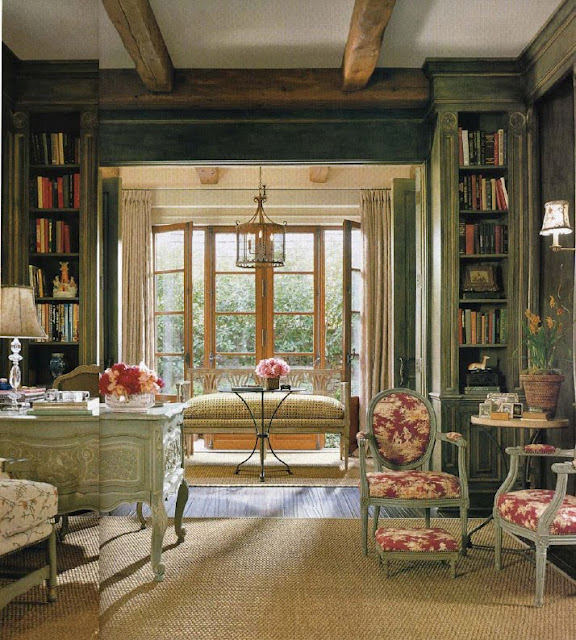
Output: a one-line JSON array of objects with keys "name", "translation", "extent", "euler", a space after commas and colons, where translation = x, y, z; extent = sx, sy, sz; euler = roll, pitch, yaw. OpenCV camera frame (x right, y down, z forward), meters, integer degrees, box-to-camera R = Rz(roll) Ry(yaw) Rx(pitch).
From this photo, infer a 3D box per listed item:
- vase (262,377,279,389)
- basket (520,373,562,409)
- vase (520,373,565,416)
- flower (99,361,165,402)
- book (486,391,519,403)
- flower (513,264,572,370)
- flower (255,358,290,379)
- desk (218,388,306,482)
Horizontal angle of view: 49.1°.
[{"name": "vase", "translation": [-0.127, 0.505, 4.975], "extent": [0.107, 0.095, 0.122], "euler": [0, 0, 10]}, {"name": "basket", "translation": [1.318, 0.379, 3.369], "extent": [0.218, 0.183, 0.203], "euler": [1, -7, 1]}, {"name": "vase", "translation": [1.376, 0.399, 3.397], "extent": [0.254, 0.222, 0.238], "euler": [4, -9, 6]}, {"name": "flower", "translation": [-0.723, 0.281, 2.887], "extent": [0.258, 0.152, 0.095], "euler": [0, -1, -11]}, {"name": "book", "translation": [1.126, 0.409, 3.289], "extent": [0.150, 0.040, 0.168], "euler": [0, 0, -1]}, {"name": "flower", "translation": [1.478, 0.027, 3.563], "extent": [0.265, 0.545, 0.518], "euler": [-1, -1, 15]}, {"name": "flower", "translation": [-0.106, 0.383, 5.001], "extent": [0.216, 0.150, 0.200], "euler": [0, 0, -9]}, {"name": "desk", "translation": [-0.205, 0.862, 5.151], "extent": [0.478, 0.696, 1.183], "euler": [0, 0, -5]}]
